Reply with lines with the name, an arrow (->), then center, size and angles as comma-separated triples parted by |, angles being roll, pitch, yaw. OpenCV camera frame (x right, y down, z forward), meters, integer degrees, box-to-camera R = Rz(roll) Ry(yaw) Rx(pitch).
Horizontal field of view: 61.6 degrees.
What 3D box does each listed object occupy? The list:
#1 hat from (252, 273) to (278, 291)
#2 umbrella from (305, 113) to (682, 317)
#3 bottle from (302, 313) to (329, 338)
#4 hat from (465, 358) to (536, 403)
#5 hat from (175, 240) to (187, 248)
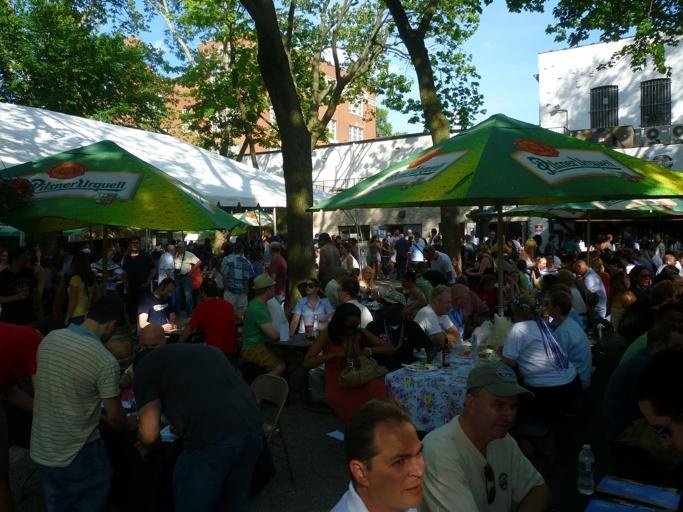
hat -> -1.331, 0.454, 10.050 | 0.423, 0.209, 0.541 | -14, -7, -10
umbrella -> 2.084, -0.636, 6.959 | 2.384, 1.662, 2.438 | 1, 3, 5
bottle -> -0.432, 1.117, 9.314 | 0.392, 0.290, 0.267 | 1, -4, 5
hat -> 1.189, 0.964, 4.471 | 0.384, 0.208, 0.290 | -6, -12, 38
hat -> -3.993, -0.255, 14.197 | 0.212, 0.156, 0.301 | 4, 10, -24
